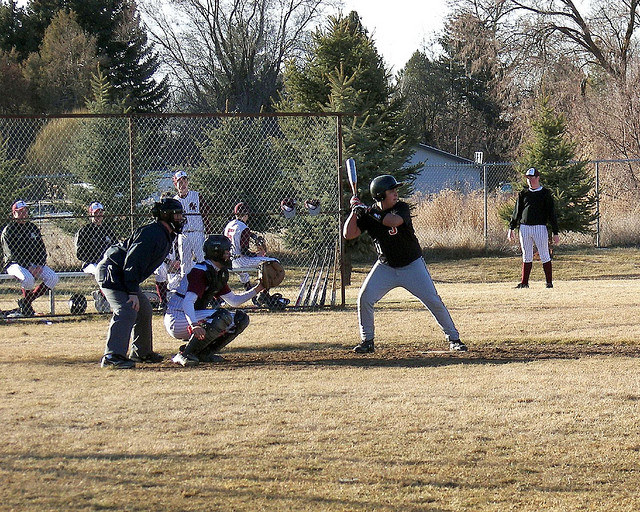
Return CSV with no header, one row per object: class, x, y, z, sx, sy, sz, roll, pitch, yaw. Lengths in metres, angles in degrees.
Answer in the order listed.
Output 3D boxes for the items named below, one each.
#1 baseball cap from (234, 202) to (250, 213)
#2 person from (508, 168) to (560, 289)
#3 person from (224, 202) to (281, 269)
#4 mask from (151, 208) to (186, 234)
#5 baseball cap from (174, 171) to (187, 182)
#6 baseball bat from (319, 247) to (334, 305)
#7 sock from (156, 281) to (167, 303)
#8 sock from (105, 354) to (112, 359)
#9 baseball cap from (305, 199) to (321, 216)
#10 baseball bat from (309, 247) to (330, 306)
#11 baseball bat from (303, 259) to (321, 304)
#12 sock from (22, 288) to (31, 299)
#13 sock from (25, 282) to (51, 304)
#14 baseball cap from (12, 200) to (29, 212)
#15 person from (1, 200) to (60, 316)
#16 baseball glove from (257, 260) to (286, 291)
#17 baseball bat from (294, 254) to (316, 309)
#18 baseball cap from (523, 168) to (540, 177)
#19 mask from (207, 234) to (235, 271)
baseball cap,-1.503,-0.922,23.580,0.229,0.146,0.248,2,14,28
person,4.330,-0.545,24.695,1.012,1.880,0.720,-1,0,19
person,-1.433,-0.471,25.204,0.867,1.708,0.975,-11,16,-34
mask,-2.360,-0.563,19.155,0.394,0.423,0.359,-8,15,-18
baseball cap,-2.703,-1.527,23.506,0.229,0.178,0.365,-1,0,-10
baseball bat,0.102,0.564,23.302,0.134,0.052,1.017,6,46,9
sock,-3.001,0.697,23.082,0.190,0.360,0.446,-1,0,-8
sock,-3.286,1.575,18.928,0.098,0.068,0.008,-1,0,17
baseball cap,-0.140,-0.889,22.633,0.320,0.366,0.255,-2,7,0
baseball bat,0.004,0.338,23.492,0.173,1.646,0.066,24,-39,-15
baseball bat,-0.123,0.480,23.343,0.106,1.086,0.054,2,-35,33
sock,-5.565,0.719,23.049,0.132,0.174,0.142,0,-3,-4
sock,-5.359,0.713,23.133,0.423,0.387,0.702,-1,0,-7
baseball cap,-5.823,-0.932,23.561,0.280,0.164,0.216,-19,1,39
person,-5.600,0.018,23.234,1.061,2.125,0.999,-1,0,31
baseball glove,-0.775,0.304,19.248,0.391,0.481,0.338,-5,-4,-6
baseball bat,-0.257,0.519,23.442,0.168,0.092,1.616,-14,19,18
baseball cap,4.317,-1.668,24.713,0.300,0.189,0.178,0,0,-34
mask,-1.546,-0.049,18.979,0.403,0.571,0.418,0,12,-10
